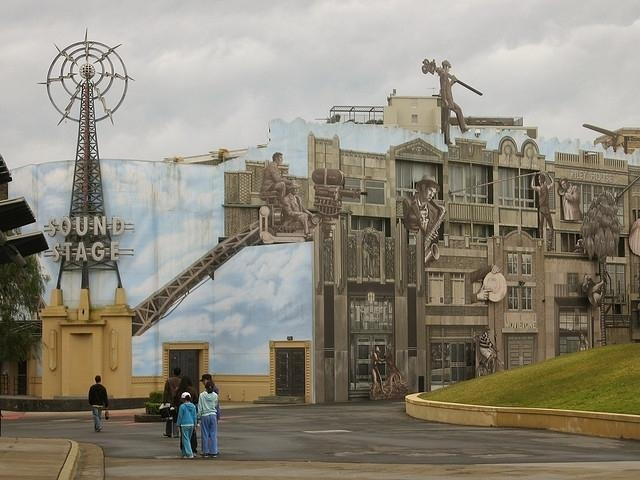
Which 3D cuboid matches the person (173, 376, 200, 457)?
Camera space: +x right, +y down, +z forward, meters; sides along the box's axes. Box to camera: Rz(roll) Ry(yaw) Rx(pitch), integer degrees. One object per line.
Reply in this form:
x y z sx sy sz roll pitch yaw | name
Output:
-5.568 7.431 69.713 1.080 3.228 0.924 3 -10 -18 | person

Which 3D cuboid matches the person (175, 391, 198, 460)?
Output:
-5.464 7.727 68.106 0.755 2.718 0.532 0 -7 -22 | person
